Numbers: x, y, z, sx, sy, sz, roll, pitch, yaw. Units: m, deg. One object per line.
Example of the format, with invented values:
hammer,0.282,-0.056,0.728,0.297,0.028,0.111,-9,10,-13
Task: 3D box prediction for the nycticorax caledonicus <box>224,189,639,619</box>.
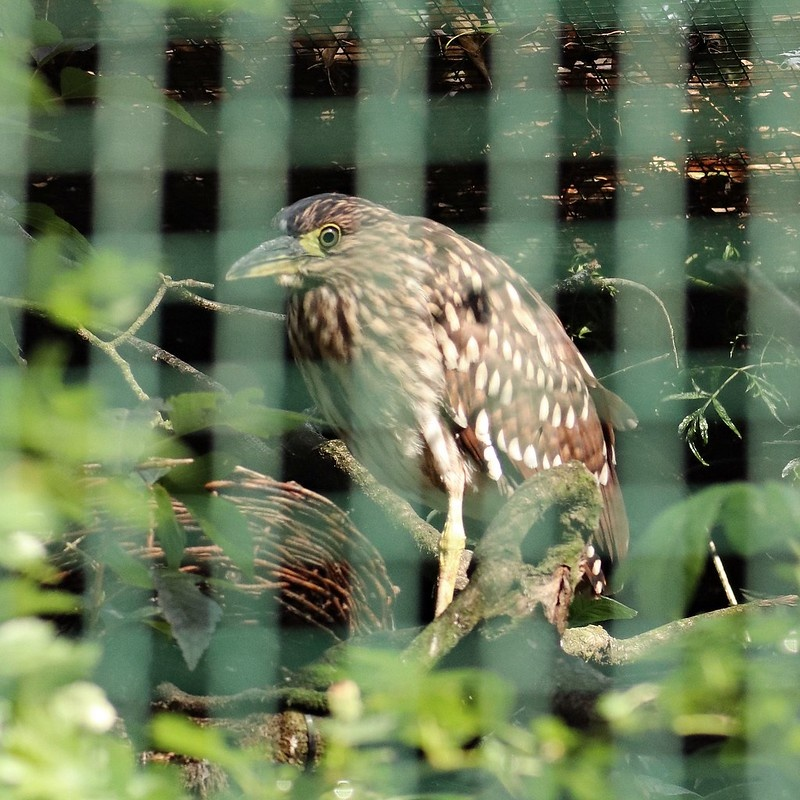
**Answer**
nycticorax caledonicus,0.070,-0.005,1.857,0.681,0.547,0.400,6,27,-3
